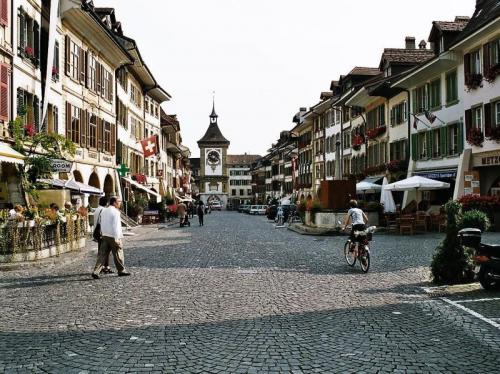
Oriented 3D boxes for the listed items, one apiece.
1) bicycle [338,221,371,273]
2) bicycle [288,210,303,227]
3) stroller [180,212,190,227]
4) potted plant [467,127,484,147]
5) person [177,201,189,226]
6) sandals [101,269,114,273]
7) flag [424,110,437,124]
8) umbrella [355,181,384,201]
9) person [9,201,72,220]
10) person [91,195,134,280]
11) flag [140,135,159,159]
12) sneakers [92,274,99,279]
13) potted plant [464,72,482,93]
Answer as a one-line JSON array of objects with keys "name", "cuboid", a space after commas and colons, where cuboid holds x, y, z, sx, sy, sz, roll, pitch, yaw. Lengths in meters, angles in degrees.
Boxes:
[{"name": "bicycle", "cuboid": [2.870, 1.650, 14.040, 0.596, 0.857, 1.370, 0, 4, -6]}, {"name": "bicycle", "cuboid": [3.101, 2.215, 36.437, 0.589, 0.764, 1.132, -3, 1, -43]}, {"name": "stroller", "cuboid": [-4.507, 2.318, 36.215, 0.518, 0.694, 1.018, -3, -8, 4]}, {"name": "potted plant", "cuboid": [11.078, -2.421, 25.728, 0.459, 0.903, 0.950, 0, 0, -15]}, {"name": "person", "cuboid": [-4.873, 1.851, 36.400, 0.929, 1.198, 1.823, 1, 4, 0]}, {"name": "sandals", "cuboid": [-3.633, 2.165, 13.414, 0.323, 0.137, 0.130, -3, 4, -6]}, {"name": "flag", "cuboid": [10.527, -4.117, 30.544, 0.254, 0.578, 0.909, 20, 33, -19]}, {"name": "umbrella", "cuboid": [8.049, 0.255, 35.082, 1.336, 1.062, 1.474, 2, -2, -3]}, {"name": "person", "cuboid": [-6.602, 0.832, 16.249, 1.136, 0.417, 0.931, 1, -4, -3]}, {"name": "person", "cuboid": [-3.414, 1.230, 12.906, 0.829, 1.998, 0.546, 0, 0, -18]}, {"name": "flag", "cuboid": [-6.979, -2.852, 36.679, 1.067, 1.616, 2.565, 0, 0, -13]}, {"name": "sneakers", "cuboid": [-3.688, 2.138, 12.592, 0.161, 0.146, 0.376, 0, 0, -18]}, {"name": "potted plant", "cuboid": [11.139, -5.284, 26.151, 0.444, 0.890, 1.229, 0, 0, -1]}]
